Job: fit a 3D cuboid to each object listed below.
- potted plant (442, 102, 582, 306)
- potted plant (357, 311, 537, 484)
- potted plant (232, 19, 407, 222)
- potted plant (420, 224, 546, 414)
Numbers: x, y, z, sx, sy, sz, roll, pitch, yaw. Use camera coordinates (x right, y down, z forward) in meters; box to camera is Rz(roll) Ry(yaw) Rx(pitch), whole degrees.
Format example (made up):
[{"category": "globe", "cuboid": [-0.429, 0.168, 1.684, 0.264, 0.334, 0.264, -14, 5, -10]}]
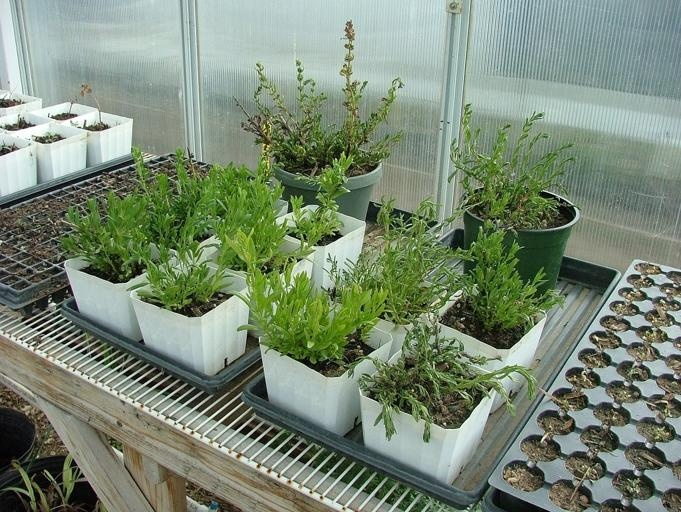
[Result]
[{"category": "potted plant", "cuboid": [0.603, -0.166, 1.653, 0.449, 0.569, 0.393, 10, 17, 28]}, {"category": "potted plant", "cuboid": [0.229, 0.361, 1.202, 0.343, 0.309, 0.354, 21, 38, 32]}, {"category": "potted plant", "cuboid": [0.007, -0.513, 2.159, 0.419, 0.562, 0.507, 20, 6, 15]}, {"category": "potted plant", "cuboid": [0.381, 0.173, 1.328, 0.297, 0.214, 0.235, -34, 47, -32]}]
